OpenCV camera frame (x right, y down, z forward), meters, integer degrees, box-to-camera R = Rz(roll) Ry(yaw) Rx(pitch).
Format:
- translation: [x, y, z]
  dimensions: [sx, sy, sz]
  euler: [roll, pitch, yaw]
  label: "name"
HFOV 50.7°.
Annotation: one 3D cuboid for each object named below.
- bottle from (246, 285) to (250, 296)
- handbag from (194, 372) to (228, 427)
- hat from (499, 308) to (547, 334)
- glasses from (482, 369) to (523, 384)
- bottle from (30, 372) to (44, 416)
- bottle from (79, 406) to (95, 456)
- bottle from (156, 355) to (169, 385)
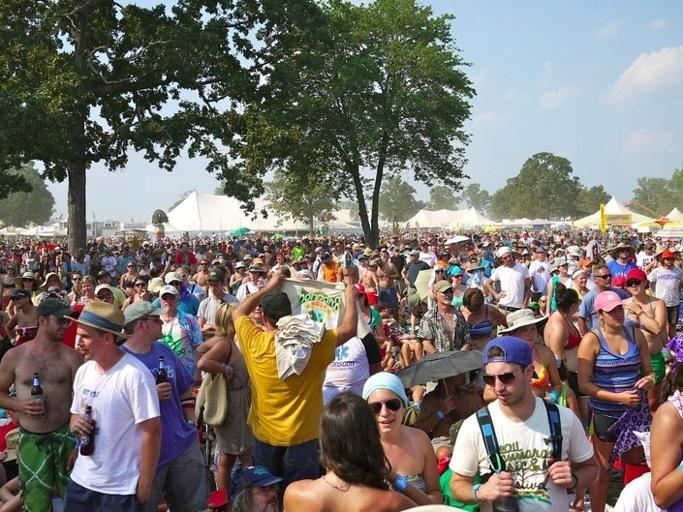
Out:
- translation: [-1.591, 0.581, 12.265]
  dimensions: [0.037, 0.157, 0.152]
  euler: [-7, 6, 5]
  label: "bottle"
- translation: [-1.500, 1.624, 8.218]
  dimensions: [0.217, 0.605, 0.516]
  euler: [-1, 0, -40]
  label: "handbag"
- translation: [2.011, 0.726, 8.154]
  dimensions: [0.365, 0.124, 0.395]
  euler: [-24, -8, -6]
  label: "hat"
- translation: [1.289, 1.014, 5.957]
  dimensions: [0.305, 0.107, 0.101]
  euler: [-2, -1, 43]
  label: "glasses"
- translation: [-3.062, 1.378, 7.244]
  dimensions: [0.112, 0.433, 0.228]
  euler: [-1, 0, -24]
  label: "bottle"
- translation: [-2.259, 1.555, 6.377]
  dimensions: [0.126, 0.455, 0.107]
  euler: [-1, 0, 40]
  label: "bottle"
- translation: [-1.771, 1.121, 7.115]
  dimensions: [0.123, 0.268, 0.287]
  euler: [-1, 0, -14]
  label: "bottle"
